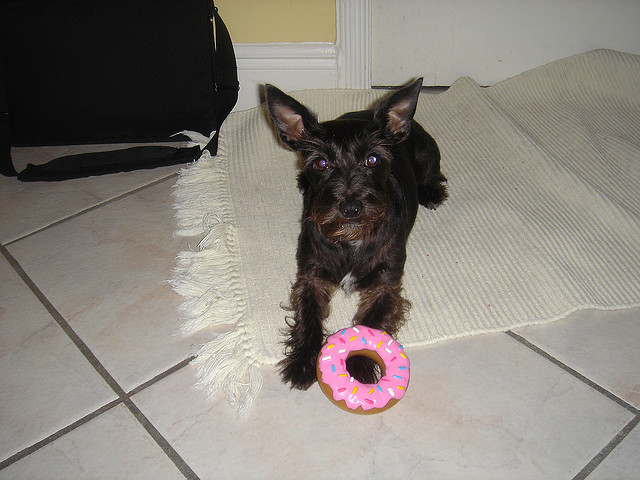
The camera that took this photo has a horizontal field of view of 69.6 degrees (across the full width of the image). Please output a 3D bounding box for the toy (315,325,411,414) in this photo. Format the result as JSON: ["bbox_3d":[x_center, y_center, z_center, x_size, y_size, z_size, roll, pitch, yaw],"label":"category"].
[{"bbox_3d":[0.200,0.585,2.076,0.394,0.153,0.410,27,53,24],"label":"toy"}]

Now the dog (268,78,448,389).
[{"bbox_3d":[0.180,-0.198,2.338,0.839,0.924,1.601,2,50,10],"label":"dog"}]
